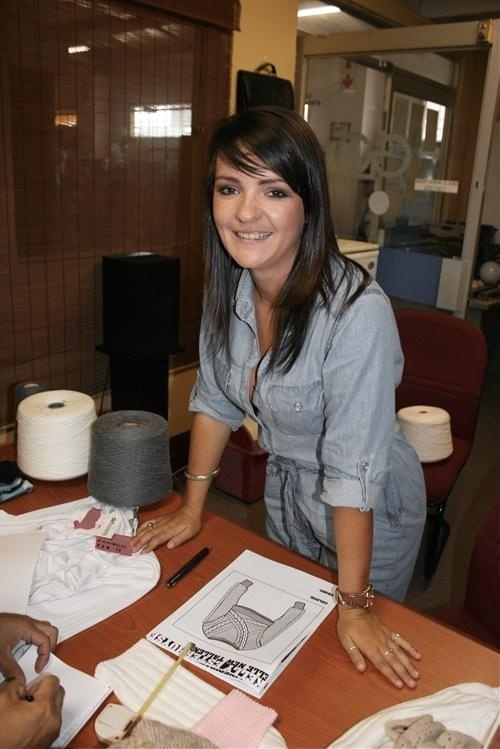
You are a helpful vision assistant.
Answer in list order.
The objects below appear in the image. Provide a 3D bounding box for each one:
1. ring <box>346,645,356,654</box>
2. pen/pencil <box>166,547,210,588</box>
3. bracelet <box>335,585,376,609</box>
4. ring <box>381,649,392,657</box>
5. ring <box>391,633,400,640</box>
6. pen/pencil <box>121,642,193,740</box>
[{"bbox_3d":[0.131,0.356,0.695,0.007,0.002,0.008,-22,9,4],"label":"ring"},{"bbox_3d":[-0.096,0.310,0.881,0.020,0.019,0.137,10,20,19],"label":"pen/pencil"},{"bbox_3d":[0.148,0.311,0.744,0.043,0.028,0.043,-3,-2,0],"label":"bracelet"},{"bbox_3d":[0.174,0.353,0.682,0.008,0.009,0.005,-1,-1,-35],"label":"ring"},{"bbox_3d":[0.192,0.348,0.713,0.008,0.004,0.012,0,8,1],"label":"ring"},{"bbox_3d":[-0.107,0.364,0.624,0.015,0.013,0.153,27,16,7],"label":"pen/pencil"}]
